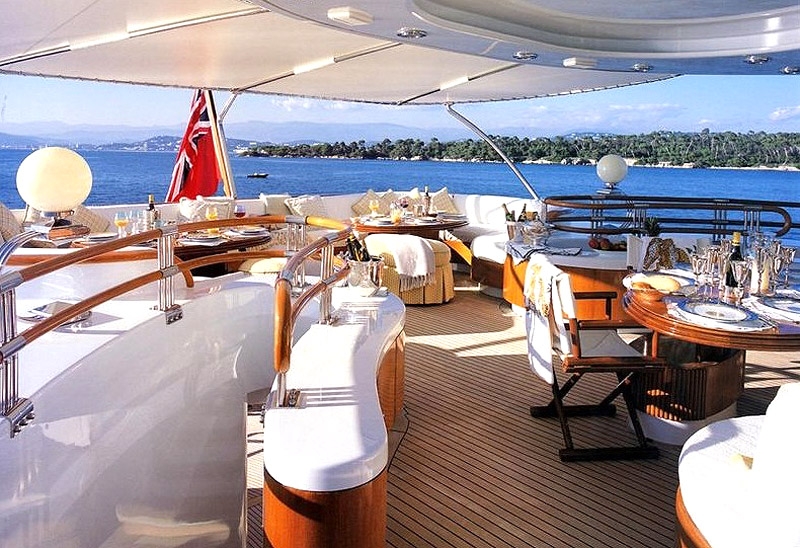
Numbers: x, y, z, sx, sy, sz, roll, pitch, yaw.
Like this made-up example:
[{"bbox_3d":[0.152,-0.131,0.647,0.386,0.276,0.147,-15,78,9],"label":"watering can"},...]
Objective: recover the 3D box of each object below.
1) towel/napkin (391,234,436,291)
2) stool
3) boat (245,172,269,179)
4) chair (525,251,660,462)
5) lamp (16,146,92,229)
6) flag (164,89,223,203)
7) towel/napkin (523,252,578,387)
[{"bbox_3d":[0.153,-0.123,6.096,0.562,0.610,0.202,-6,-7,-8],"label":"towel/napkin"},{"bbox_3d":[0.127,-0.091,6.440,0.840,0.869,0.780,-5,12,-31],"label":"stool"},{"bbox_3d":[-12.073,-8.223,42.504,1.808,0.620,1.530,-6,9,-15],"label":"boat"},{"bbox_3d":[1.207,0.526,3.616,1.045,1.276,0.893,0,7,0],"label":"chair"},{"bbox_3d":[-2.234,-0.588,3.261,0.404,0.476,0.268,-10,12,-24],"label":"lamp"},{"bbox_3d":[-3.683,-2.273,8.950,1.105,1.903,0.490,-2,12,15],"label":"flag"},{"bbox_3d":[0.996,0.336,3.367,0.253,0.910,0.533,-4,11,6],"label":"towel/napkin"}]
